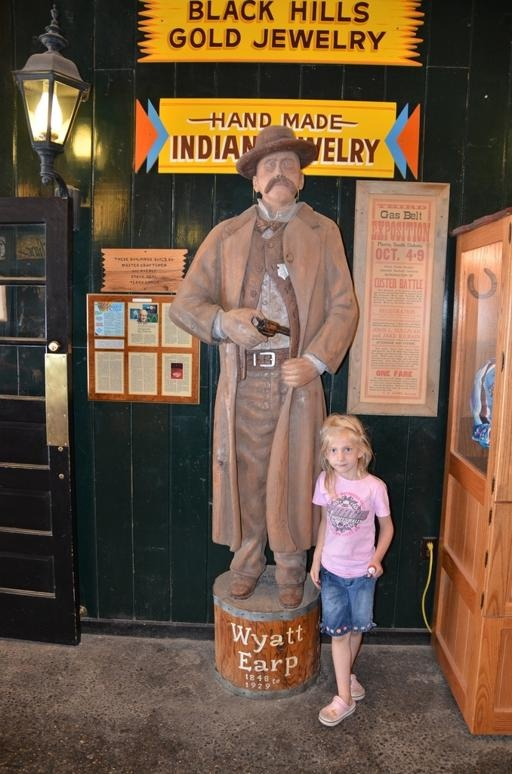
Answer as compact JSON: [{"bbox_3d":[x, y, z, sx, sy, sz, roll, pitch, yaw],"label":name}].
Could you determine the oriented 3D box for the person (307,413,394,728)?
[{"bbox_3d":[0.313,0.605,2.332,0.240,1.029,0.185,-3,10,-18],"label":"person"}]

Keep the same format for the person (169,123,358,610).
[{"bbox_3d":[0.026,-0.060,2.389,0.630,1.611,0.368,2,10,8],"label":"person"}]

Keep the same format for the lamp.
[{"bbox_3d":[-0.750,-1.010,2.601,0.245,0.804,0.376,-2,10,-12],"label":"lamp"}]

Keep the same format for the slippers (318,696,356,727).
[{"bbox_3d":[0.268,1.082,2.325,0.142,0.063,0.061,12,-6,-42],"label":"slippers"}]

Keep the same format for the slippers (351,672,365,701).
[{"bbox_3d":[0.364,1.073,2.464,0.034,0.040,0.096,0,3,3],"label":"slippers"}]

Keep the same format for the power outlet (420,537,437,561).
[{"bbox_3d":[0.707,0.655,2.840,0.086,0.125,0.014,2,7,8],"label":"power outlet"}]
